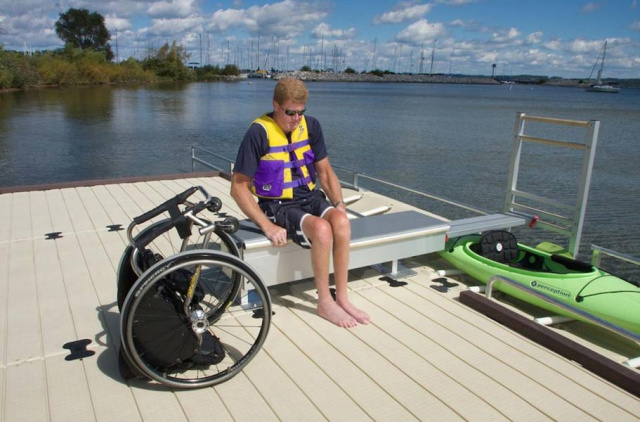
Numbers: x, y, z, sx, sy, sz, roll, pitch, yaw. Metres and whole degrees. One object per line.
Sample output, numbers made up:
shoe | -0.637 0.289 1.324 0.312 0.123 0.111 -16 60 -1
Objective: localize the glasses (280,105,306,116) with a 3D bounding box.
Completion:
glasses | -0.210 -0.911 3.492 0.159 0.096 0.270 12 22 31

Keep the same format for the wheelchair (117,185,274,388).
wheelchair | -1.025 0.472 2.954 1.101 1.359 1.134 -5 21 -11

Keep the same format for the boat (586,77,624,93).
boat | 84.059 -36.972 113.055 6.567 3.630 8.741 8 20 21

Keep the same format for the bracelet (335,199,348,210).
bracelet | 0.181 -0.056 3.775 0.127 0.070 0.144 -11 1 -43
